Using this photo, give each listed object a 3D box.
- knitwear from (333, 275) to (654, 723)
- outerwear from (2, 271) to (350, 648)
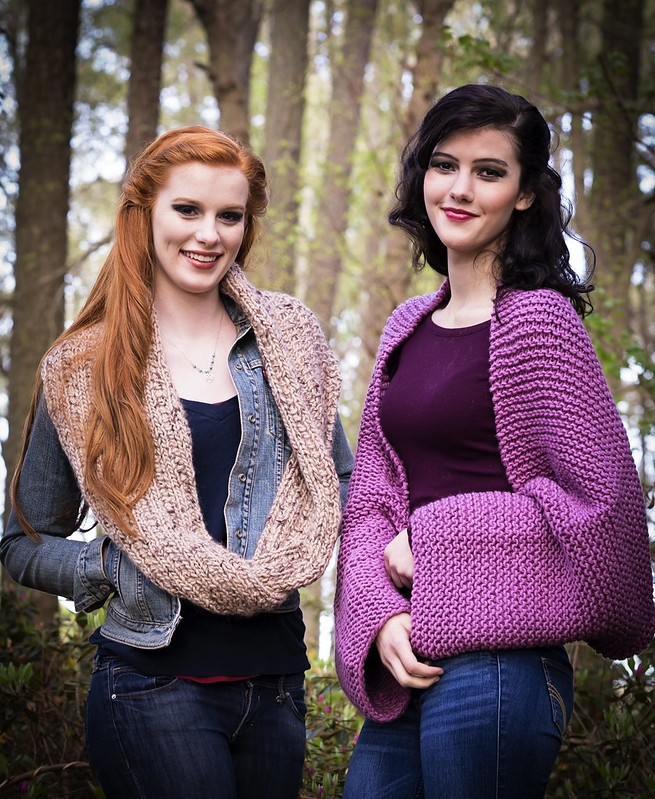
[{"bbox_3d":[0.406,0.275,2.398,0.860,1.001,0.422,9,3,31],"label":"knitwear"},{"bbox_3d":[-0.262,0.225,2.714,0.997,0.943,0.345,-11,-19,-4],"label":"outerwear"}]
